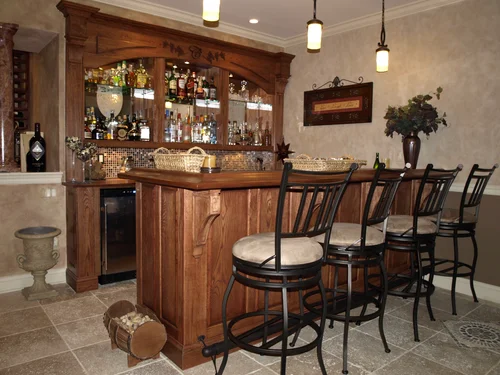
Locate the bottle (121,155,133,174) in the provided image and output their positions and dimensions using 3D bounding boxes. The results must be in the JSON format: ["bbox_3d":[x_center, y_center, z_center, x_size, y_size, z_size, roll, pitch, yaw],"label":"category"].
[{"bbox_3d":[-1.600,-0.302,5.279,0.151,0.187,0.110,10,14,41],"label":"bottle"}]

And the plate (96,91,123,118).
[{"bbox_3d":[-1.726,-1.016,5.061,0.049,0.309,0.334,11,14,40],"label":"plate"}]

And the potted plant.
[{"bbox_3d":[1.971,-0.702,4.795,0.644,0.911,0.484,-4,12,-27],"label":"potted plant"}]

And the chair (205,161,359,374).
[{"bbox_3d":[0.290,0.600,3.202,0.877,1.678,1.036,8,13,33],"label":"chair"}]

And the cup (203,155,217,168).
[{"bbox_3d":[-0.297,-0.202,3.212,0.102,0.112,0.104,1,5,0],"label":"cup"}]

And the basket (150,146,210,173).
[{"bbox_3d":[-0.616,-0.223,3.545,0.358,0.251,0.663,-4,9,-40],"label":"basket"}]

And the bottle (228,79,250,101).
[{"bbox_3d":[-0.179,-1.452,6.089,0.348,0.312,0.111,-5,8,-41],"label":"bottle"}]
